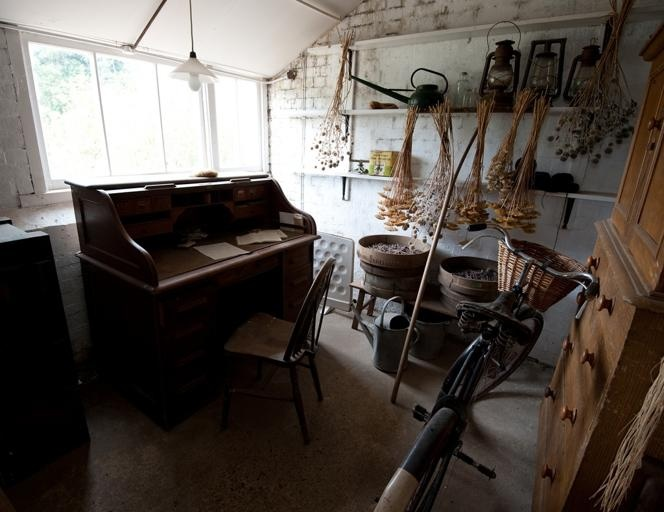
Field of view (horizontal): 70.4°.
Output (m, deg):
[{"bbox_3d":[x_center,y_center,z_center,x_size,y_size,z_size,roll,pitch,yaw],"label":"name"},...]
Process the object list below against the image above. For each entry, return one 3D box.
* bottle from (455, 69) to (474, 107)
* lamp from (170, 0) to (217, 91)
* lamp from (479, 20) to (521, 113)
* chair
[{"bbox_3d":[1.021,-1.284,3.612,0.045,0.253,0.148,-14,24,-41],"label":"bottle"},{"bbox_3d":[-0.964,-1.473,3.277,0.289,0.610,0.895,-2,19,-14],"label":"lamp"},{"bbox_3d":[1.182,-1.346,3.300,0.270,0.628,0.476,9,19,18],"label":"lamp"},{"bbox_3d":[-0.386,0.498,3.172,0.714,1.134,0.915,0,18,-9],"label":"chair"}]
